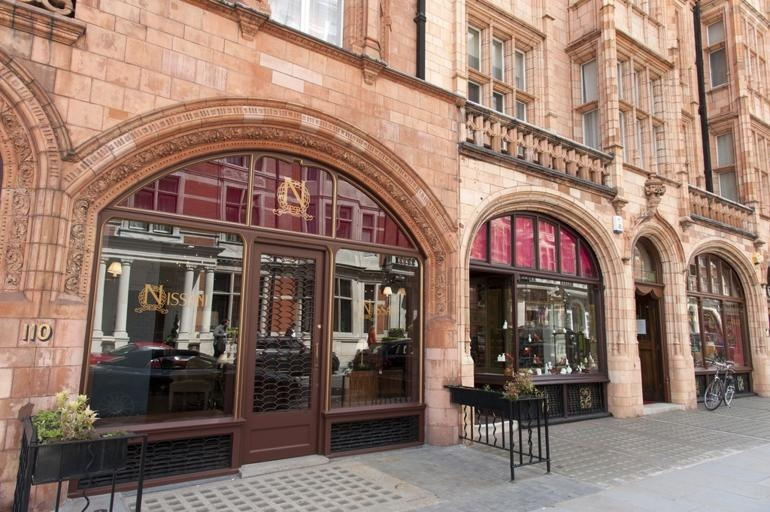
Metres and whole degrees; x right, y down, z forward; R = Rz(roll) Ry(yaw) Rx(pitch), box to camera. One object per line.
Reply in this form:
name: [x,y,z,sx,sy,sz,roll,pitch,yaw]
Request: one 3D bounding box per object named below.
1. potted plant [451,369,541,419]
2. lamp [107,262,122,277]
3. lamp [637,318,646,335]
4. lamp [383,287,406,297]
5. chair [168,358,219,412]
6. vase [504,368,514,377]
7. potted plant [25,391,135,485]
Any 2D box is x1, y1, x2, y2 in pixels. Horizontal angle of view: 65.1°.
potted plant: [2.139,2.610,11.082,0.820,0.741,1.613,1,1,-33]
lamp: [-4.318,0.222,9.710,0.223,0.222,0.225,2,-14,-2]
lamp: [7.206,1.994,16.878,0.267,0.409,0.660,2,1,23]
lamp: [0.196,0.689,11.909,0.542,0.148,0.037,1,1,-36]
chair: [-3.363,2.122,10.392,0.918,1.046,1.079,5,-2,-11]
vase: [2.831,2.654,13.734,0.154,0.190,0.275,11,-15,-34]
potted plant: [-4.488,2.539,8.487,1.257,0.929,1.256,9,0,41]
